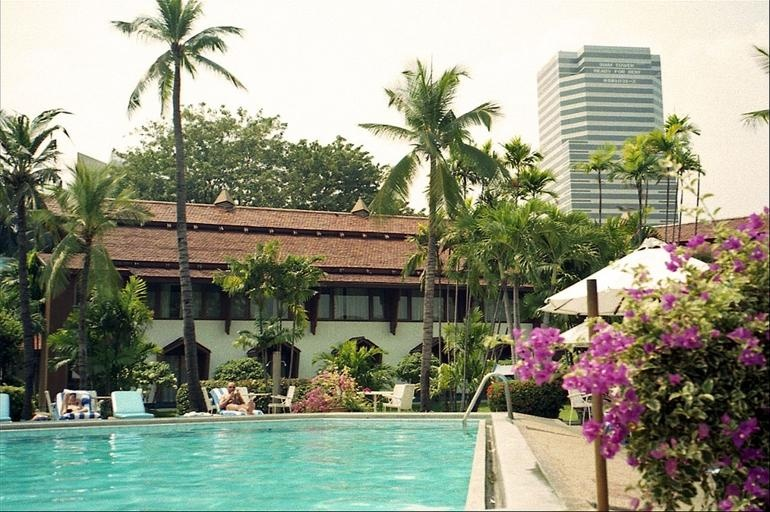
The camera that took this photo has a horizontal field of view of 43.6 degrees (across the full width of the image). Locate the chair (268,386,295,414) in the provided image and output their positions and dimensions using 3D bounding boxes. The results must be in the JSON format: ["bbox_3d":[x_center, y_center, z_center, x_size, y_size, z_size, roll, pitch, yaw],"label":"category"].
[{"bbox_3d":[-4.221,5.850,39.119,0.970,1.041,2.502,1,-8,-10],"label":"chair"}]

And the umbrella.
[{"bbox_3d":[6.549,0.667,26.657,3.396,1.873,3.496,-3,-19,-11],"label":"umbrella"}]

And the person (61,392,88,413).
[{"bbox_3d":[-11.234,5.345,34.903,0.647,0.363,0.807,5,-5,-35],"label":"person"}]

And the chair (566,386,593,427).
[{"bbox_3d":[6.578,5.132,32.691,0.705,1.120,2.911,-2,-8,10],"label":"chair"}]

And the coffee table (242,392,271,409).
[{"bbox_3d":[-5.335,6.029,40.161,1.007,0.693,1.039,1,-4,-5],"label":"coffee table"}]

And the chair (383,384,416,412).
[{"bbox_3d":[0.527,5.490,37.258,1.083,1.060,2.324,0,-8,0],"label":"chair"}]

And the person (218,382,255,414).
[{"bbox_3d":[-5.677,5.503,36.402,0.805,1.274,2.006,0,4,-28],"label":"person"}]
